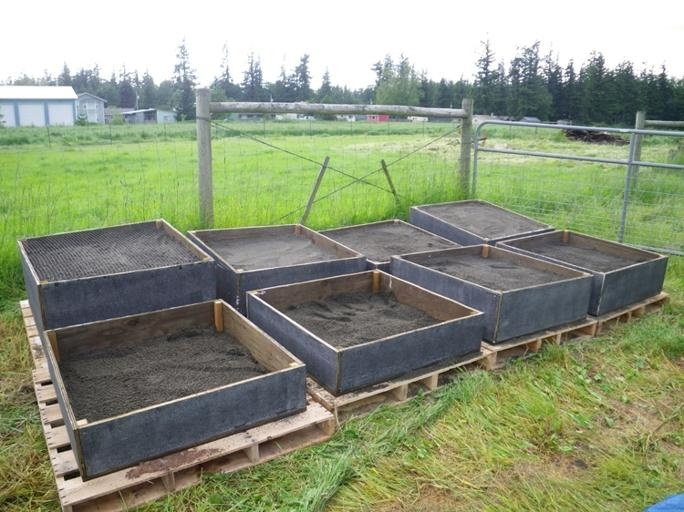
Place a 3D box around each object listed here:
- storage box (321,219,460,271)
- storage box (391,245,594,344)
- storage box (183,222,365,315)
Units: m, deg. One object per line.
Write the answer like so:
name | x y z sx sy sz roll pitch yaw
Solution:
storage box | 0.537 -0.206 6.865 0.977 0.317 0.947 -17 28 -32
storage box | 1.689 0.314 5.454 1.216 0.420 1.297 -6 17 -29
storage box | -0.620 0.343 5.761 1.129 0.290 1.100 -16 -19 9
